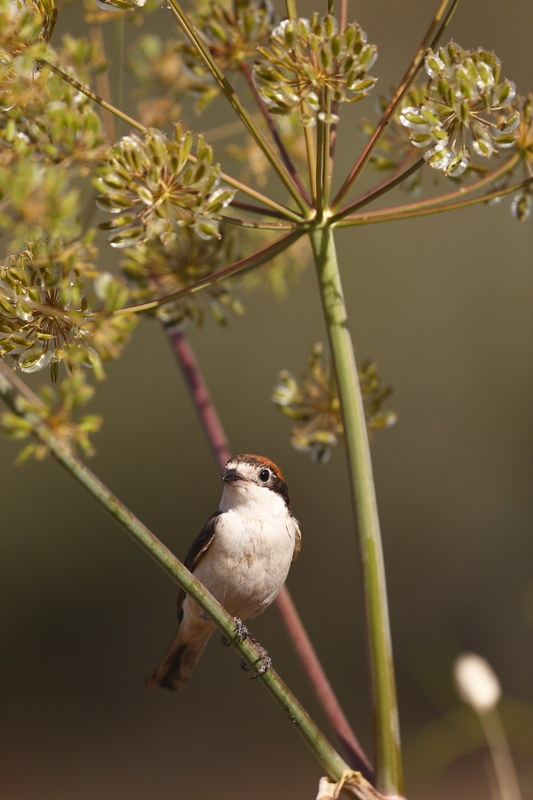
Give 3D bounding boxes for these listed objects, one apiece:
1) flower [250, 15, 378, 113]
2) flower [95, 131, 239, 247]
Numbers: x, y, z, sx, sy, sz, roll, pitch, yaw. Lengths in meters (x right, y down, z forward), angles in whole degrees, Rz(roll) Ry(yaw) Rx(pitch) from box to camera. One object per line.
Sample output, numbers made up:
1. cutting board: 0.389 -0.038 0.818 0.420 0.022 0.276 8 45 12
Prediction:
1. flower: 0.069 -0.415 0.973 0.150 0.060 0.139 -8 -15 29
2. flower: -0.133 -0.285 0.993 0.185 0.193 0.096 -5 -98 19
